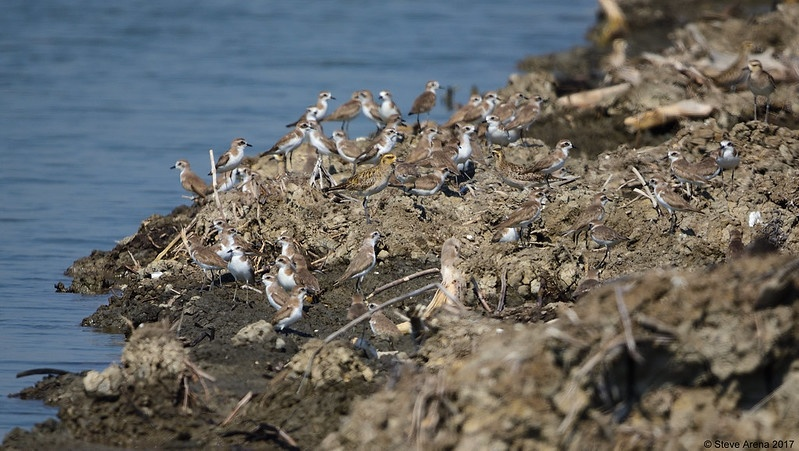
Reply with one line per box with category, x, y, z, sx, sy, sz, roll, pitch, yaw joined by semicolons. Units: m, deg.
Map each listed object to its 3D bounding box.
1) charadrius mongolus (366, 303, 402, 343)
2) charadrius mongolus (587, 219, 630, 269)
charadrius mongolus;-0.310;2.077;25.162;0.638;0.652;0.805;-7;30;-8
charadrius mongolus;4.693;0.376;26.729;0.918;0.992;0.676;3;32;8
